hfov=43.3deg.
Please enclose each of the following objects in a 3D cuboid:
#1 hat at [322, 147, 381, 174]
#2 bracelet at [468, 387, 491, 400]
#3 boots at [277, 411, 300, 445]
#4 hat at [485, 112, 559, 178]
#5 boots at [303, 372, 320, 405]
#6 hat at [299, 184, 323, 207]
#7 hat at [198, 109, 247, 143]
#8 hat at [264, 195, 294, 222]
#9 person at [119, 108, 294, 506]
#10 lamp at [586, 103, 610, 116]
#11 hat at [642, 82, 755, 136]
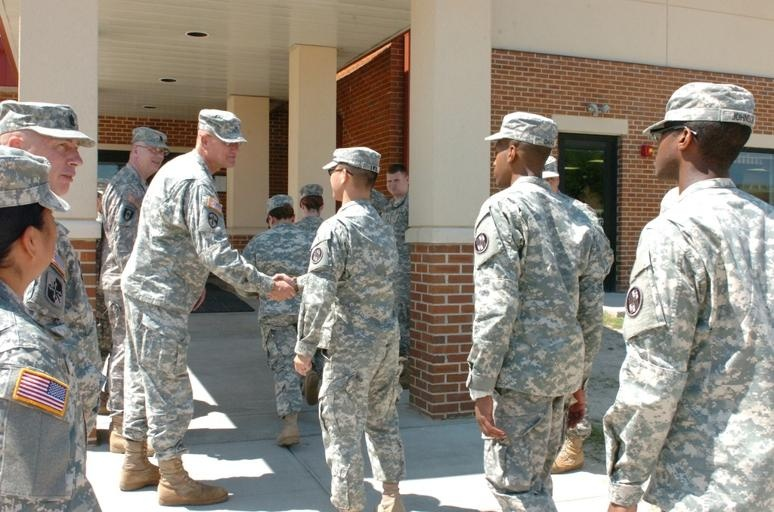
[{"bbox_3d":[-0.301,-0.776,7.781,0.387,0.133,0.251,-3,3,21],"label":"hat"},{"bbox_3d":[0.649,0.965,6.799,0.093,0.074,0.113,1,8,4],"label":"bracelet"},{"bbox_3d":[-0.911,1.605,9.047,0.173,0.314,0.340,4,-24,-19],"label":"boots"},{"bbox_3d":[1.024,-0.831,7.123,0.515,0.244,0.384,16,4,19],"label":"hat"},{"bbox_3d":[-0.738,1.327,9.866,0.154,0.370,0.166,-12,25,-27],"label":"boots"},{"bbox_3d":[-0.773,-0.632,9.853,0.202,0.121,0.247,1,-1,2],"label":"hat"},{"bbox_3d":[-1.333,-1.084,7.985,0.479,0.215,0.345,17,13,18],"label":"hat"},{"bbox_3d":[-1.054,-0.473,9.599,0.250,0.269,0.285,-1,16,-14],"label":"hat"},{"bbox_3d":[-1.542,0.423,7.832,1.005,3.093,0.786,-10,17,-32],"label":"person"},{"bbox_3d":[2.820,-1.982,13.111,0.230,0.105,0.217,-11,-5,-19],"label":"lamp"},{"bbox_3d":[2.003,-0.961,6.227,0.530,0.254,0.651,-2,5,-30],"label":"hat"}]
